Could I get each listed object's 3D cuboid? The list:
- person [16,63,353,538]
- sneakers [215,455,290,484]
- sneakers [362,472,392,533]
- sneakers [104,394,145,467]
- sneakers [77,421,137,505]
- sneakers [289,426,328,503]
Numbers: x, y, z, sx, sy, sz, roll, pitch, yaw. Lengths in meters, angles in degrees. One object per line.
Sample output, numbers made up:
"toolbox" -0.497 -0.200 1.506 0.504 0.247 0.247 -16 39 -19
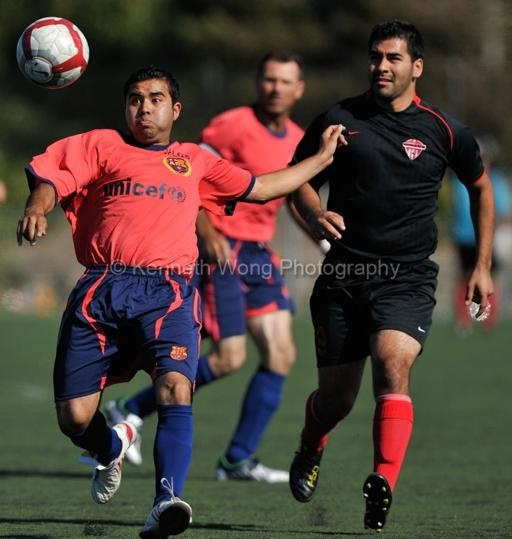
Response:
"person" -0.515 0.103 4.232 0.850 2.045 1.165 -1 -3 27
"sneakers" -0.031 1.221 5.845 0.463 0.159 0.159 1 -8 1
"sneakers" 0.473 0.932 3.834 0.119 0.221 0.135 5 -5 24
"sneakers" -0.880 1.054 6.101 0.201 0.457 0.151 27 30 -31
"sneakers" -0.740 0.945 4.644 0.161 0.451 0.220 25 23 24
"sneakers" 0.250 1.002 4.845 0.138 0.407 0.175 8 -36 1
